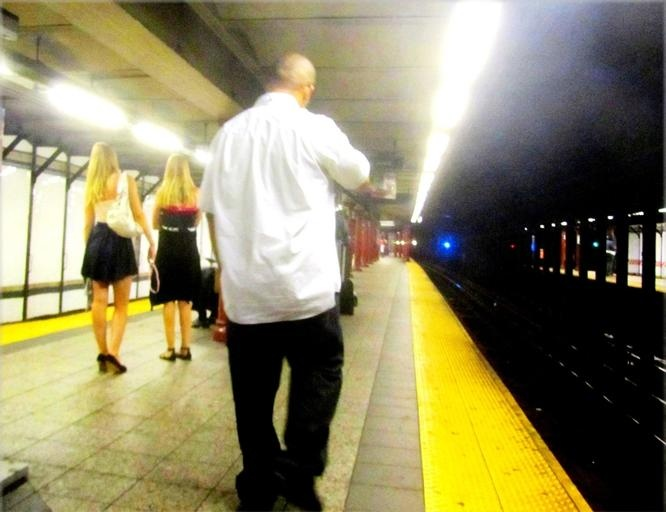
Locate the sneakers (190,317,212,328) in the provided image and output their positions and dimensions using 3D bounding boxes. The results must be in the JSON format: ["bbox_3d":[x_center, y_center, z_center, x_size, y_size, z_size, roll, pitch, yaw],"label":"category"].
[{"bbox_3d":[-2.045,1.043,8.196,0.349,0.159,0.121,9,-8,-16],"label":"sneakers"}]

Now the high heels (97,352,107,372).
[{"bbox_3d":[-2.625,1.222,5.978,0.095,0.116,0.266,1,-26,-8],"label":"high heels"}]

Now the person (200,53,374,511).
[{"bbox_3d":[-0.386,0.211,4.175,1.166,3.607,0.592,2,8,-15],"label":"person"}]

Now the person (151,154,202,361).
[{"bbox_3d":[-1.897,0.028,6.412,0.564,2.495,0.440,1,8,-20],"label":"person"}]
